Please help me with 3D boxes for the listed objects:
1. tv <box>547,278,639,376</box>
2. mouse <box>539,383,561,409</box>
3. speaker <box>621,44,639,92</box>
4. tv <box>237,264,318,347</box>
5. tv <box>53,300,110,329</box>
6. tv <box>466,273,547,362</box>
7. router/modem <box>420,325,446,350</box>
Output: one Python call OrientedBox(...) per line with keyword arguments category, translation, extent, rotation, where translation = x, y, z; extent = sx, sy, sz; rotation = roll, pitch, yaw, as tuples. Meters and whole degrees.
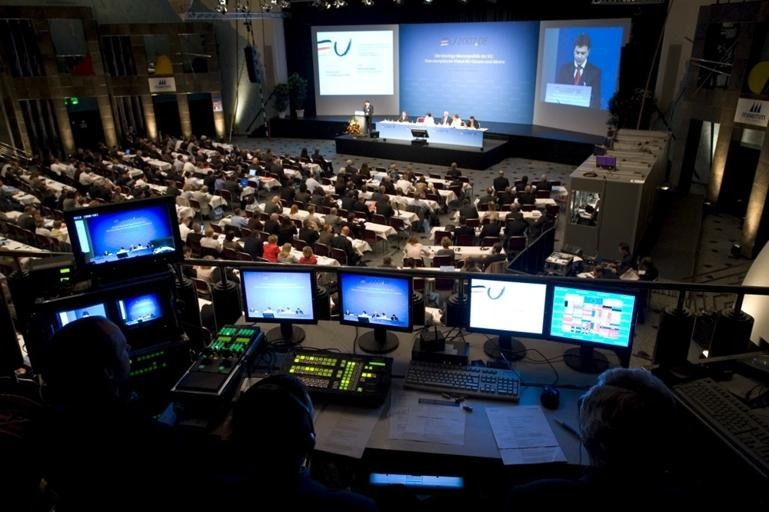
OrientedBox(category="tv", translation=(1.655, 0.547, 4.271), extent=(0.646, 0.596, 0.349), rotation=(11, 29, 22))
OrientedBox(category="mouse", translation=(1.270, 1.083, 4.164), extent=(0.159, 0.146, 0.157), rotation=(11, 29, 30))
OrientedBox(category="speaker", translation=(7.348, -5.657, 16.166), extent=(0.525, 1.323, 0.146), rotation=(18, 26, 33))
OrientedBox(category="tv", translation=(-0.921, 0.418, 4.666), extent=(0.668, 0.615, 0.333), rotation=(2, 20, 3))
OrientedBox(category="tv", translation=(-2.191, 0.416, 3.834), extent=(0.509, 0.143, 0.192), rotation=(-4, -2, -21))
OrientedBox(category="tv", translation=(1.016, 0.498, 4.449), extent=(0.657, 0.628, 0.361), rotation=(4, 22, 13))
OrientedBox(category="router/modem", translation=(0.403, 0.680, 4.467), extent=(0.182, 0.165, 0.175), rotation=(2, 21, 1))
